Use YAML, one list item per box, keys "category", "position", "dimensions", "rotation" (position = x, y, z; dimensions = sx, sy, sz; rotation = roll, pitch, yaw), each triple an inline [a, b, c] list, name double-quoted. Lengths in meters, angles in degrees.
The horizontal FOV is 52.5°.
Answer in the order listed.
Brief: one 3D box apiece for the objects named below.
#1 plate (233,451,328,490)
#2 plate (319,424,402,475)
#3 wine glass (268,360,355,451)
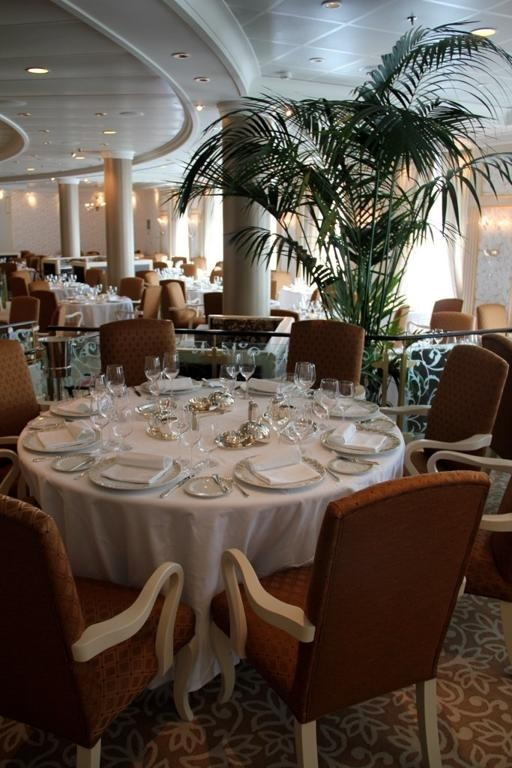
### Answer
- category: "plate"
  position: [0.069, 0.242, 1.506]
  dimensions: [0.266, 0.048, 0.223]
  rotation: [-1, 13, -6]
- category: "plate"
  position: [0.336, 0.210, 1.707]
  dimensions: [0.156, 0.051, 0.183]
  rotation: [21, 32, 39]
- category: "wine glass"
  position: [0.186, 0.070, 1.868]
  dimensions: [0.251, 0.150, 0.343]
  rotation: [5, 15, 16]
